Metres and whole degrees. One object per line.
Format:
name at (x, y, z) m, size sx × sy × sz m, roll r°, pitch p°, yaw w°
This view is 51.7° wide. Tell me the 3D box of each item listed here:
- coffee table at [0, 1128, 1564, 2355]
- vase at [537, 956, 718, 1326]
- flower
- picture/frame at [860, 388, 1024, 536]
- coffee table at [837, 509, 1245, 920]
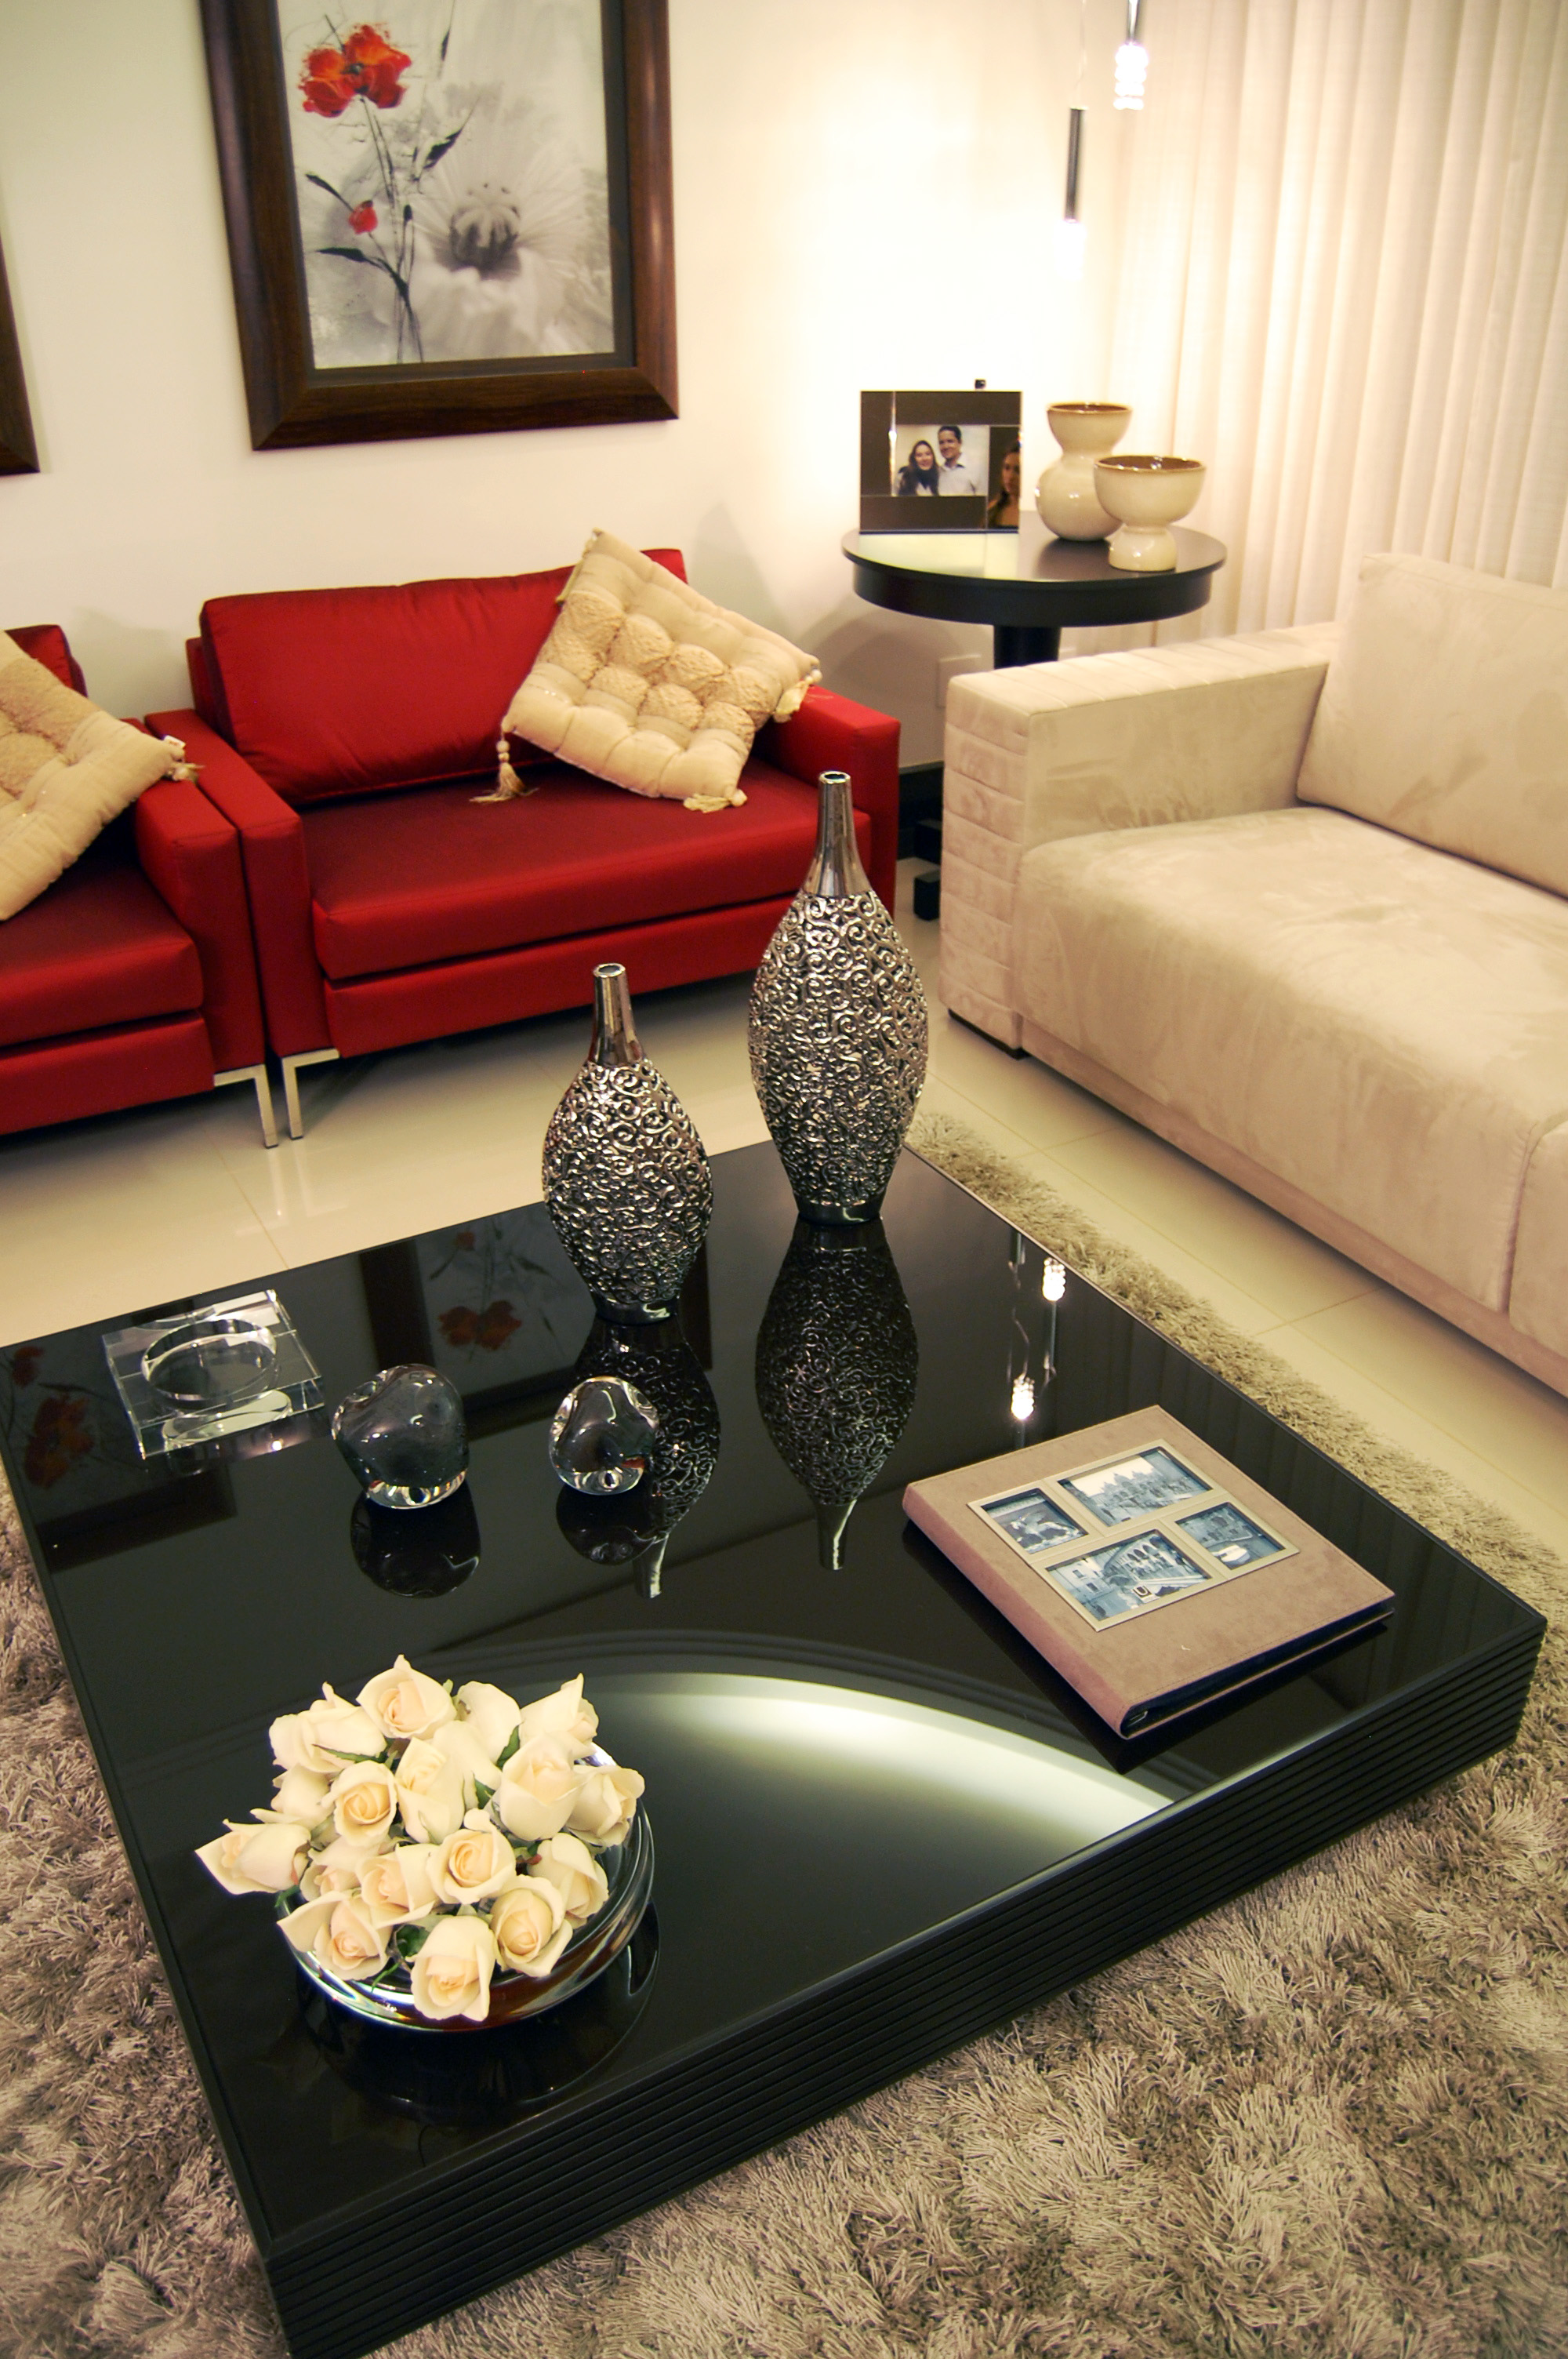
coffee table at (0.041, 0.406, 1.363) m, size 0.819 × 0.229 × 0.927 m, roll -18°, pitch 41°, yaw -27°
vase at (-0.166, -0.044, 1.694) m, size 0.165 × 0.375 × 0.148 m, roll 3°, pitch 20°, yaw 16°
flower at (-0.198, 0.364, 0.905) m, size 0.212 × 0.093 × 0.224 m, roll -10°, pitch 33°, yaw -19°
picture/frame at (0.346, -1.596, 3.574) m, size 0.320 × 0.282 × 0.012 m, roll -2°, pitch 20°, yaw -6°
coffee table at (0.557, -1.069, 3.650) m, size 0.747 × 0.807 × 0.794 m, roll -11°, pitch 41°, yaw -10°
